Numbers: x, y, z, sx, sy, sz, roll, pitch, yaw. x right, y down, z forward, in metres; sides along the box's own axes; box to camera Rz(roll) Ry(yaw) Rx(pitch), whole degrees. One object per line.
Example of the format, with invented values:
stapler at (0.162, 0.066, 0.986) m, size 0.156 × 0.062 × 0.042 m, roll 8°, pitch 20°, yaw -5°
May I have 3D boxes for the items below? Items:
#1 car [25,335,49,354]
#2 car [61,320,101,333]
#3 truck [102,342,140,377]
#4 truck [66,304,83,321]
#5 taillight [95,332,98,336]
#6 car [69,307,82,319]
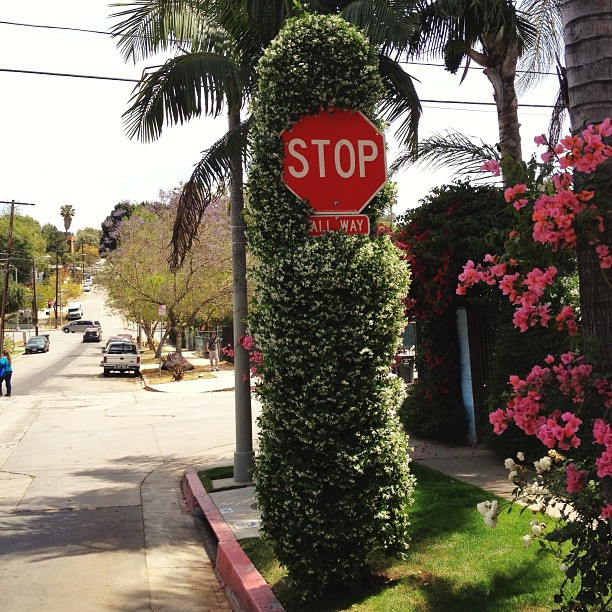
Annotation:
car at (-22.276, 3.091, 53.701) m, size 1.176 × 0.980 × 2.468 m, roll 0°, pitch -5°, yaw -6°
car at (-27.964, 2.529, 79.921) m, size 3.264 × 1.122 × 1.386 m, roll 3°, pitch 5°, yaw 15°
truck at (-9.188, 2.607, 31.891) m, size 1.218 × 1.007 × 2.208 m, roll 0°, pitch 6°, yaw -7°
truck at (-36.027, 0.846, 100.139) m, size 2.598 × 2.217 × 4.582 m, roll -1°, pitch -2°, yaw -7°
taillight at (-21.373, 2.814, 65.397) m, size 0.316 × 0.423 × 0.124 m, roll -4°, pitch 2°, yaw -12°
car at (-35.566, 1.010, 98.751) m, size 1.660 × 1.753 × 2.290 m, roll 0°, pitch 0°, yaw -21°
